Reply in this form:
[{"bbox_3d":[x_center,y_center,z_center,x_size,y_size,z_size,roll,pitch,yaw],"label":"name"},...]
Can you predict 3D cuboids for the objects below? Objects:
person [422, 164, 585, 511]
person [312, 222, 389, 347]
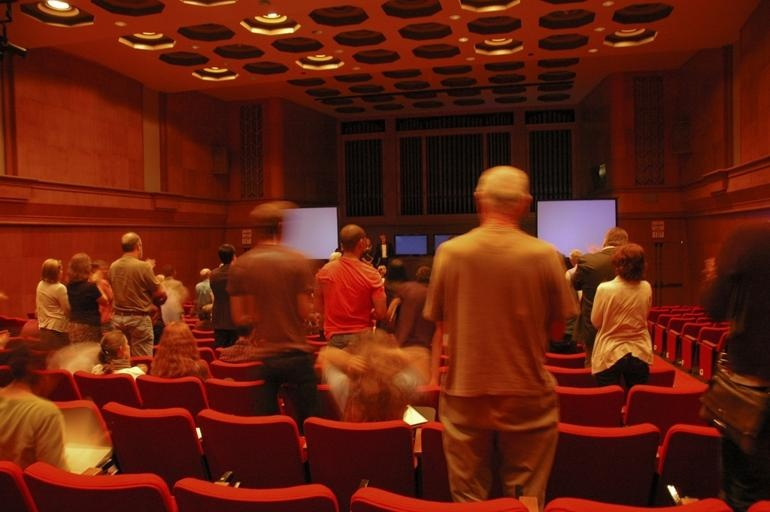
[{"bbox_3d":[0.760,0.535,4.038,0.957,2.295,0.433,2,4,17],"label":"person"},{"bbox_3d":[-0.329,0.665,5.877,0.657,1.953,0.566,5,20,6],"label":"person"}]
